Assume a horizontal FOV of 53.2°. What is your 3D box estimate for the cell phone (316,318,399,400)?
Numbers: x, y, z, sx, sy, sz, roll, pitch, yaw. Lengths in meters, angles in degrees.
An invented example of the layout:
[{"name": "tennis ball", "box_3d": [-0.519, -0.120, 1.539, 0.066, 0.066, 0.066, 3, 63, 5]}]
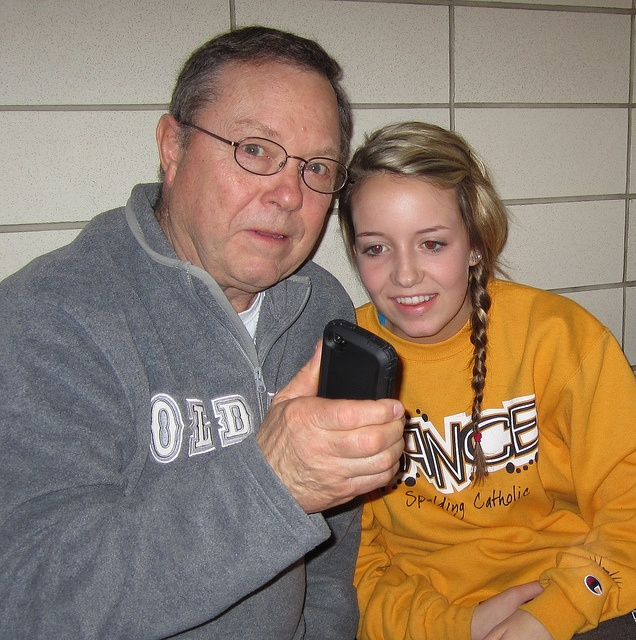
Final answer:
[{"name": "cell phone", "box_3d": [0.061, 0.105, 1.061, 0.126, 0.217, 0.030, 28, 46, 24]}]
